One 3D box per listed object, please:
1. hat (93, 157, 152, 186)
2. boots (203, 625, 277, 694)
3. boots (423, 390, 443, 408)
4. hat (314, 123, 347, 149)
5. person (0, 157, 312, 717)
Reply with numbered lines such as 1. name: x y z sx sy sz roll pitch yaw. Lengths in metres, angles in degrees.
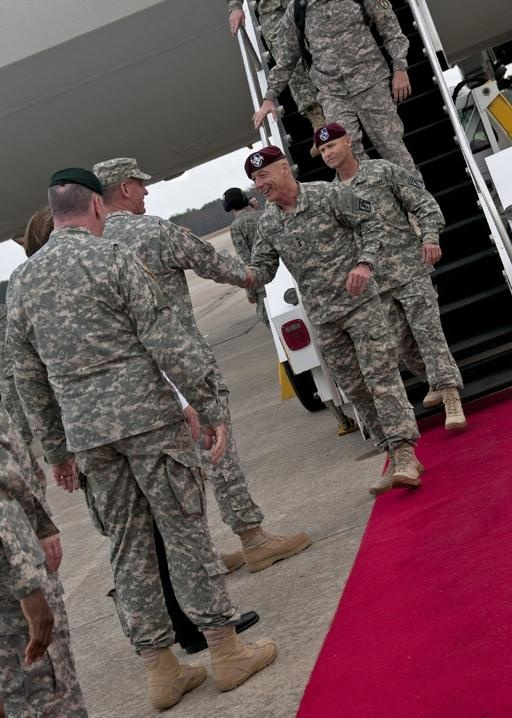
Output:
1. hat: -0.561 -0.758 2.726 0.274 0.096 0.161 -11 22 -25
2. boots: -0.040 0.919 2.114 0.090 0.180 0.271 -5 3 44
3. boots: 1.098 0.251 4.078 0.076 0.085 0.215 -3 12 15
4. hat: 0.391 -1.221 3.593 0.165 0.116 0.106 -23 8 19
5. person: -0.406 0.265 2.090 0.707 1.808 0.360 -29 7 0
